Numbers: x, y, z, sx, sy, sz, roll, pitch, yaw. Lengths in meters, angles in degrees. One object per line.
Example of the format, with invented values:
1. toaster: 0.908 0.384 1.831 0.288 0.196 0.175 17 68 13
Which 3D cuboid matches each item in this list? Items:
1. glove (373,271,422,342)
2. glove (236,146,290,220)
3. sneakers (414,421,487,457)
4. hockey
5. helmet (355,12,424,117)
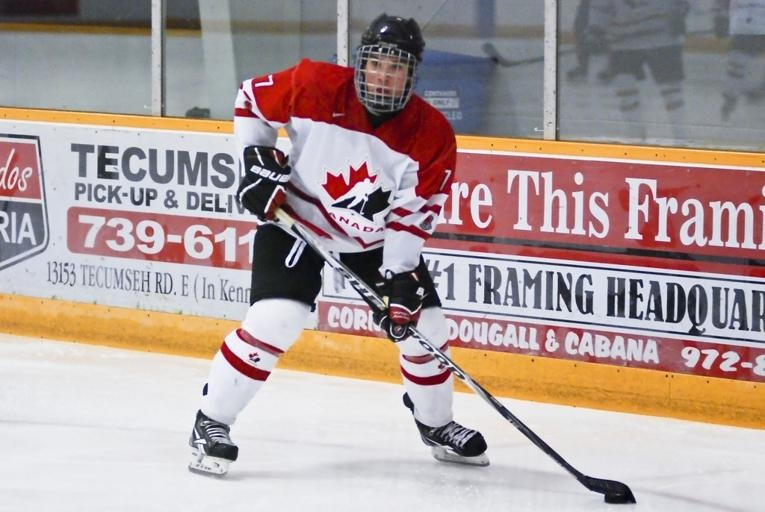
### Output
1. glove: 0.055 0.206 5.348 0.125 0.295 0.205 -1 21 -29
2. glove: -0.511 -0.334 5.376 0.252 0.296 0.117 28 13 -3
3. sneakers: 0.300 0.819 5.639 0.367 0.126 0.150 13 -8 27
4. hockey: 0.388 0.445 5.822 1.776 0.263 0.145 38 -11 14
5. helmet: 0.019 -0.805 5.228 0.268 0.406 0.114 3 9 0
